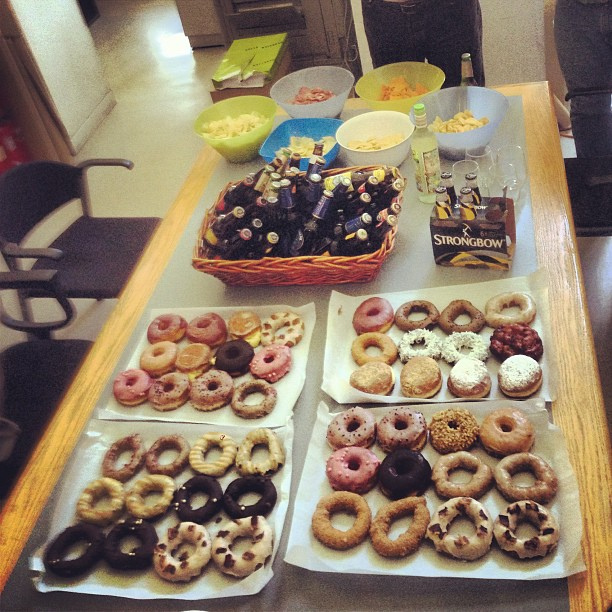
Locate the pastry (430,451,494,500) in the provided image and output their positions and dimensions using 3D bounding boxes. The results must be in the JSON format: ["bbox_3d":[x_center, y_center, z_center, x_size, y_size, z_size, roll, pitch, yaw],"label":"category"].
[{"bbox_3d":[0.351,0.376,1.314,0.156,0.133,0.047,-2,61,10],"label":"pastry"}]

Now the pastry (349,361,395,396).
[{"bbox_3d":[0.165,0.189,1.502,0.111,0.052,0.100,-20,35,-13],"label":"pastry"}]

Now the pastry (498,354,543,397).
[{"bbox_3d":[0.498,0.168,1.395,0.088,0.071,0.087,-22,36,-14],"label":"pastry"}]

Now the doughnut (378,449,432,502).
[{"bbox_3d":[0.208,0.370,1.290,0.106,0.062,0.118,13,41,31],"label":"doughnut"}]

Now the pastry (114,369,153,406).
[{"bbox_3d":[-0.471,0.220,1.620,0.105,0.032,0.089,-1,42,0],"label":"pastry"}]

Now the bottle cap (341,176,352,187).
[{"bbox_3d":[0.109,-0.352,1.688,0.036,0.027,0.035,1,-3,-7],"label":"bottle cap"}]

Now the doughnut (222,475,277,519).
[{"bbox_3d":[-0.127,0.430,1.323,0.126,0.041,0.104,-10,34,0],"label":"doughnut"}]

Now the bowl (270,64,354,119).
[{"bbox_3d":[0.031,-0.902,2.525,0.365,0.133,0.319,10,51,20],"label":"bowl"}]

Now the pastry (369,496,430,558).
[{"bbox_3d":[0.200,0.454,1.215,0.133,0.041,0.166,11,30,15],"label":"pastry"}]

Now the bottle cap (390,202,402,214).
[{"bbox_3d":[0.251,-0.270,1.655,0.023,0.035,0.023,-19,37,-6],"label":"bottle cap"}]

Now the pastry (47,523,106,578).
[{"bbox_3d":[-0.498,0.534,1.299,0.108,0.025,0.097,-7,21,5],"label":"pastry"}]

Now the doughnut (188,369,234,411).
[{"bbox_3d":[-0.251,0.224,1.583,0.120,0.049,0.107,-19,35,-12],"label":"doughnut"}]

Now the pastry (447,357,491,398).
[{"bbox_3d":[0.392,0.171,1.437,0.100,0.063,0.112,-5,35,9],"label":"pastry"}]

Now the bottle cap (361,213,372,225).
[{"bbox_3d":[0.167,-0.239,1.637,0.034,0.015,0.029,19,54,-26],"label":"bottle cap"}]

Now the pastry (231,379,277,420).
[{"bbox_3d":[-0.134,0.243,1.537,0.117,0.042,0.119,-14,34,-5],"label":"pastry"}]

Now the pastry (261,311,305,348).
[{"bbox_3d":[-0.064,0.068,1.718,0.130,0.042,0.118,9,55,25],"label":"pastry"}]

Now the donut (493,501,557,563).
[{"bbox_3d":[0.421,0.429,1.148,0.126,0.040,0.111,11,46,32],"label":"donut"}]

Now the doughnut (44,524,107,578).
[{"bbox_3d":[-0.500,0.538,1.295,0.112,0.027,0.101,0,21,10],"label":"doughnut"}]

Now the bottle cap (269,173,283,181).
[{"bbox_3d":[-0.090,-0.387,1.772,0.039,0.018,0.034,0,33,-1],"label":"bottle cap"}]

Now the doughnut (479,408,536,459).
[{"bbox_3d":[0.443,0.276,1.321,0.122,0.043,0.121,13,48,33],"label":"doughnut"}]

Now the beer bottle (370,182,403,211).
[{"bbox_3d":[0.234,-0.328,1.761,0.039,0.043,0.126,-50,-2,8],"label":"beer bottle"}]

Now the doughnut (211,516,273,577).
[{"bbox_3d":[-0.131,0.501,1.235,0.130,0.045,0.124,-11,33,-1],"label":"doughnut"}]

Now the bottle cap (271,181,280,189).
[{"bbox_3d":[-0.086,-0.348,1.703,0.023,0.009,0.024,-1,36,-2],"label":"bottle cap"}]

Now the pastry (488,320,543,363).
[{"bbox_3d":[0.506,0.062,1.481,0.130,0.098,0.039,-21,37,5],"label":"pastry"}]

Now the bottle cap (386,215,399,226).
[{"bbox_3d":[0.245,-0.245,1.685,0.032,0.012,0.027,-7,52,-15],"label":"bottle cap"}]

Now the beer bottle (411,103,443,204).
[{"bbox_3d":[0.381,-0.484,1.892,0.084,0.358,0.138,-7,39,11],"label":"beer bottle"}]

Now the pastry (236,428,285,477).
[{"bbox_3d":[-0.108,0.347,1.402,0.115,0.045,0.131,-6,34,6],"label":"pastry"}]

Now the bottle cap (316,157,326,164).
[{"bbox_3d":[0.044,-0.441,1.794,0.021,0.023,0.045,-7,34,8],"label":"bottle cap"}]

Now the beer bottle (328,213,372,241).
[{"bbox_3d":[0.128,-0.225,1.704,0.028,0.024,0.098,-30,8,-35],"label":"beer bottle"}]

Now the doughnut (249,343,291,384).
[{"bbox_3d":[-0.094,0.145,1.614,0.109,0.036,0.101,-12,33,11],"label":"doughnut"}]

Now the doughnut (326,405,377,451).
[{"bbox_3d":[0.114,0.290,1.404,0.120,0.040,0.120,10,44,34],"label":"doughnut"}]

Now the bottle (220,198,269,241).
[{"bbox_3d":[-0.179,-0.254,1.772,0.184,0.050,0.046,-40,46,18],"label":"bottle"}]

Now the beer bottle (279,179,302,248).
[{"bbox_3d":[-0.048,-0.271,1.728,0.053,0.184,0.084,-15,37,2],"label":"beer bottle"}]

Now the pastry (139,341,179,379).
[{"bbox_3d":[-0.417,0.148,1.687,0.113,0.035,0.097,-8,36,3],"label":"pastry"}]
